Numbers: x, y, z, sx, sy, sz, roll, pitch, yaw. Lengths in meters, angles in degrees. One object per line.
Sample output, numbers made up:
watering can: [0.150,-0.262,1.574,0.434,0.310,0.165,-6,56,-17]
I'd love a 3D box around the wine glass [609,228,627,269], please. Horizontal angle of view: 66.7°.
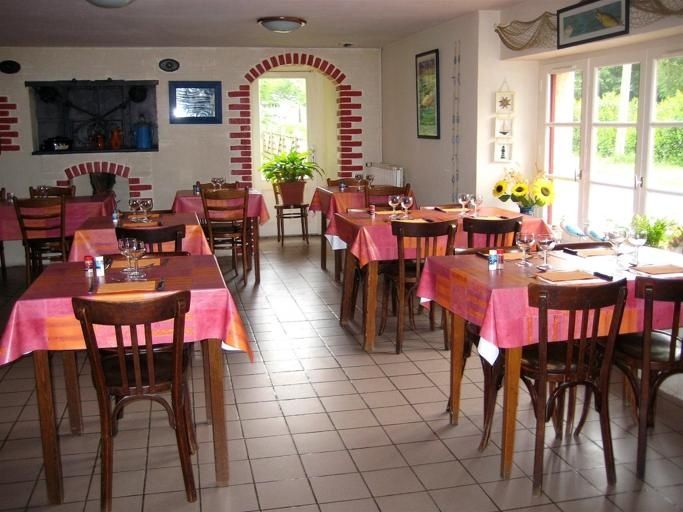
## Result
wine glass: [1.657,-0.065,3.138,0.091,0.190,0.397,7,15,29]

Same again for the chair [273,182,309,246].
chair: [-0.863,-0.752,8.656,0.646,1.116,0.640,0,9,16]

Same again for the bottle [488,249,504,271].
bottle: [0.880,0.026,2.965,0.092,0.135,0.096,-1,10,0]

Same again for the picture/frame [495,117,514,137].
picture/frame: [1.882,-1.516,6.030,0.220,0.228,0.024,-1,13,-5]

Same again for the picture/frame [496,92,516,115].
picture/frame: [1.873,-1.765,5.967,0.222,0.230,0.055,-3,6,-7]

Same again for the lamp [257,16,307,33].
lamp: [-0.703,-2.759,6.180,0.579,0.146,0.450,-1,13,-1]

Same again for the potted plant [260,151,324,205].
potted plant: [-0.864,-1.329,8.793,0.950,0.899,1.011,0,4,-8]

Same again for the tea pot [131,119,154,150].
tea pot: [-3.044,-1.874,8.014,0.318,0.493,0.536,-3,20,-20]

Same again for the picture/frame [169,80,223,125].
picture/frame: [-2.280,-2.417,8.034,0.667,0.568,0.056,-1,8,-11]

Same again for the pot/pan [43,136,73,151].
pot/pan: [-4.244,-1.671,7.788,0.322,0.211,0.286,2,5,-4]

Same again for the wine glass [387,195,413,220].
wine glass: [0.571,-0.471,5.069,0.354,0.283,0.197,-3,12,-12]

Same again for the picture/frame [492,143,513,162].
picture/frame: [1.878,-1.234,6.082,0.202,0.200,0.071,0,11,-5]

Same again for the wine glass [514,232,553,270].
wine glass: [1.159,-0.026,3.130,0.233,0.222,0.113,-1,3,3]
